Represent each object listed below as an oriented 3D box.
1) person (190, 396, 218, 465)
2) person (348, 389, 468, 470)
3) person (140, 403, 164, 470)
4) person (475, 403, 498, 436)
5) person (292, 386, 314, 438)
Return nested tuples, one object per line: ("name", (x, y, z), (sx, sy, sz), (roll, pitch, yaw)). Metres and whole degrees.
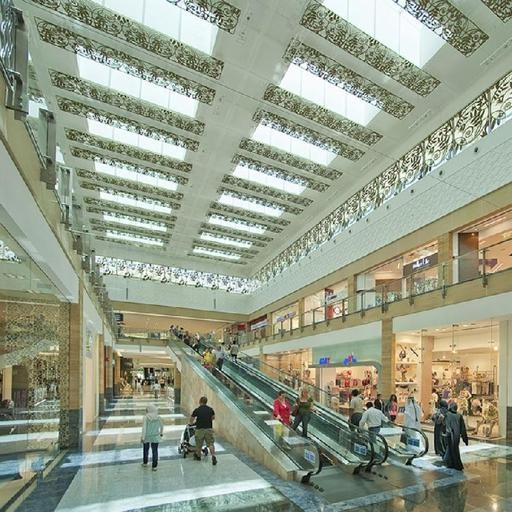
("person", (-1.076, 3.516, 8.755), (0.542, 1.208, 1.090), (2, -14, -7))
("person", (2.821, 3.413, 8.573), (1.204, 0.590, 1.562), (3, -8, -10))
("person", (-1.993, 3.433, 8.237), (0.364, 1.142, 0.958), (3, -15, -12))
("person", (5.819, 4.127, 10.825), (0.191, 0.827, 0.656), (5, -15, -20))
("person", (0.975, 3.306, 9.053), (0.444, 0.971, 0.732), (-2, -14, 6))
